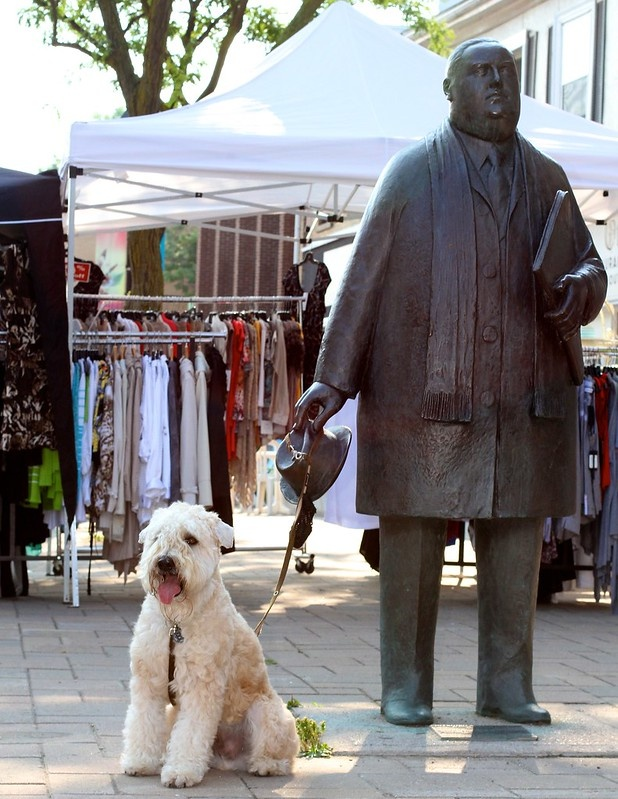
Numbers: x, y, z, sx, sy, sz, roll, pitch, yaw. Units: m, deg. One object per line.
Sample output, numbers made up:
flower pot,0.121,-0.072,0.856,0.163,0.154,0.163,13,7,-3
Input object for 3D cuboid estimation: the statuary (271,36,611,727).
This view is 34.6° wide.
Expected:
statuary,0.513,-0.051,3.420,1.018,2.376,0.397,1,1,1

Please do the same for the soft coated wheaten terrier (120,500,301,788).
soft coated wheaten terrier,-0.294,0.728,2.949,0.530,0.810,0.386,0,1,-27
